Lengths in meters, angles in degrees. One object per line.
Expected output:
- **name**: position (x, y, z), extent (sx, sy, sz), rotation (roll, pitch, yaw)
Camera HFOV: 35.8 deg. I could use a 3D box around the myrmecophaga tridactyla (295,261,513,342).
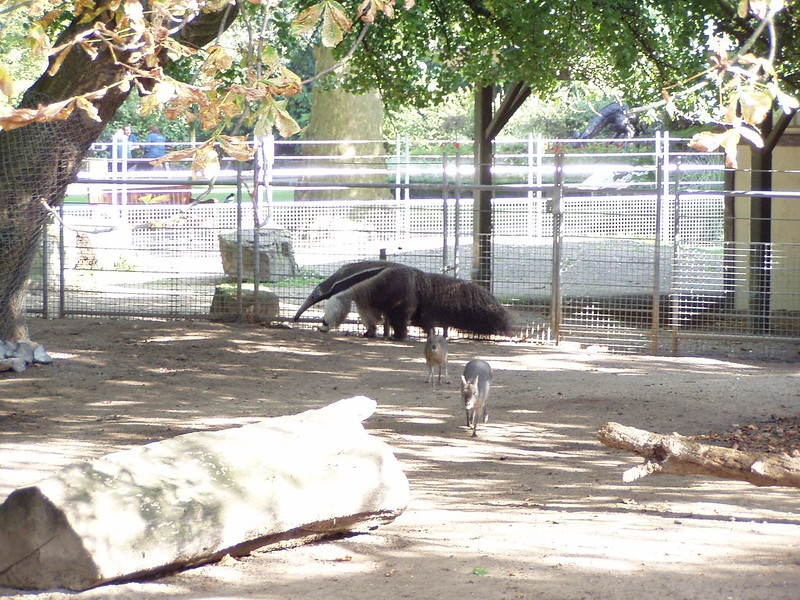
- **myrmecophaga tridactyla**: position (0.062, 0.030, 19.261), extent (3.495, 1.095, 1.094), rotation (2, 5, 2)
